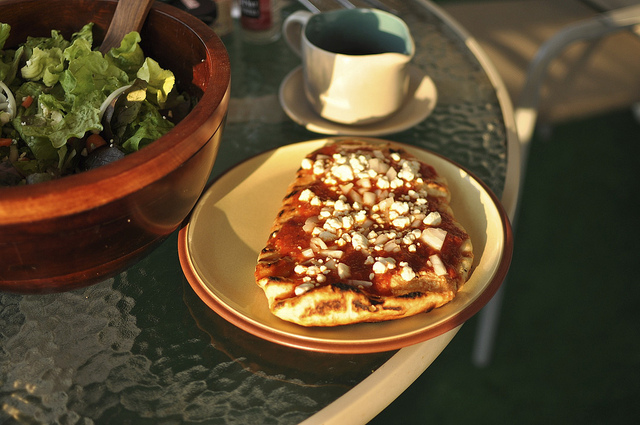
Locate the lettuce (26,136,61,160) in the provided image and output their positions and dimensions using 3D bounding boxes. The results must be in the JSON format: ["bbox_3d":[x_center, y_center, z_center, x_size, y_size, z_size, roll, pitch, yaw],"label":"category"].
[{"bbox_3d":[-0.497,-0.116,1.043,0.050,0.019,0.048,5,42,-32],"label":"lettuce"}]

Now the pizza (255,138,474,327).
[{"bbox_3d":[0.095,0.019,1.094,0.369,0.085,0.495,1,37,6],"label":"pizza"}]

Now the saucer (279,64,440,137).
[{"bbox_3d":[0.078,-0.272,1.388,0.360,0.357,0.078,12,92,-23],"label":"saucer"}]

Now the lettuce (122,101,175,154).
[{"bbox_3d":[-0.318,-0.154,1.083,0.066,0.052,0.121,18,61,8],"label":"lettuce"}]

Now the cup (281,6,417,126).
[{"bbox_3d":[0.041,-0.322,1.320,0.299,0.180,0.216,36,65,23],"label":"cup"}]
